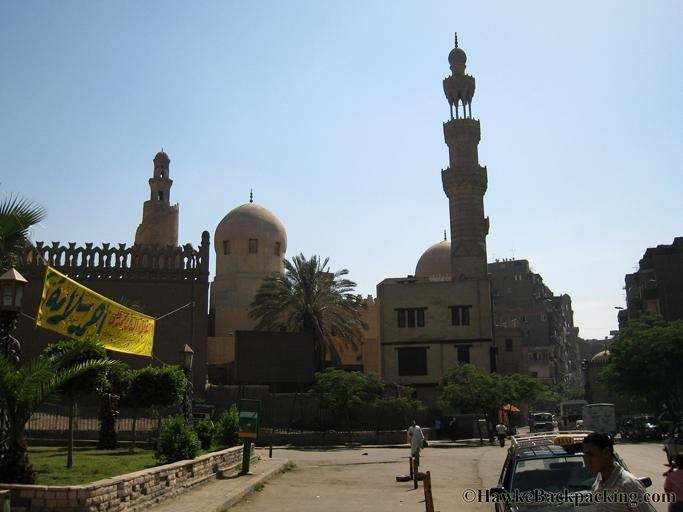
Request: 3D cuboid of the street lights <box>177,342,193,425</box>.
[{"bbox_3d":[-5.256,4.283,23.510,0.486,2.478,0.448,6,-11,-26],"label":"street lights"}]
